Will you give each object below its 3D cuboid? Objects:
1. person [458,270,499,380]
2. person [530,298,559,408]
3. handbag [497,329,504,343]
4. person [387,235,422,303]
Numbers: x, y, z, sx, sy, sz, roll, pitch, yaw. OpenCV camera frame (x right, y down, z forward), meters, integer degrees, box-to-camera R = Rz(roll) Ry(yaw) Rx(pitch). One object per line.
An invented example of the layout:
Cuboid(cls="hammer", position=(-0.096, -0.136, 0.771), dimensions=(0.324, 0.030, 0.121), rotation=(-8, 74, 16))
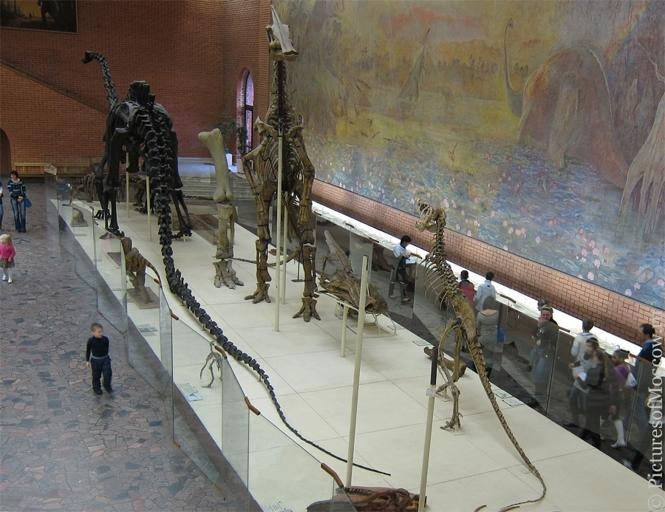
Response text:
Cuboid(cls="person", position=(2.656, 1.144, 9.621), dimensions=(0.577, 1.948, 0.743), rotation=(2, -9, -10))
Cuboid(cls="person", position=(3.280, 1.695, 8.739), dimensions=(0.176, 1.518, 0.409), rotation=(-6, 23, -18))
Cuboid(cls="handbag", position=(2.866, 1.346, 9.460), dimensions=(0.138, 0.288, 0.032), rotation=(14, 25, 27))
Cuboid(cls="person", position=(1.445, 0.279, 11.419), dimensions=(0.534, 1.374, 0.654), rotation=(4, 22, 6))
